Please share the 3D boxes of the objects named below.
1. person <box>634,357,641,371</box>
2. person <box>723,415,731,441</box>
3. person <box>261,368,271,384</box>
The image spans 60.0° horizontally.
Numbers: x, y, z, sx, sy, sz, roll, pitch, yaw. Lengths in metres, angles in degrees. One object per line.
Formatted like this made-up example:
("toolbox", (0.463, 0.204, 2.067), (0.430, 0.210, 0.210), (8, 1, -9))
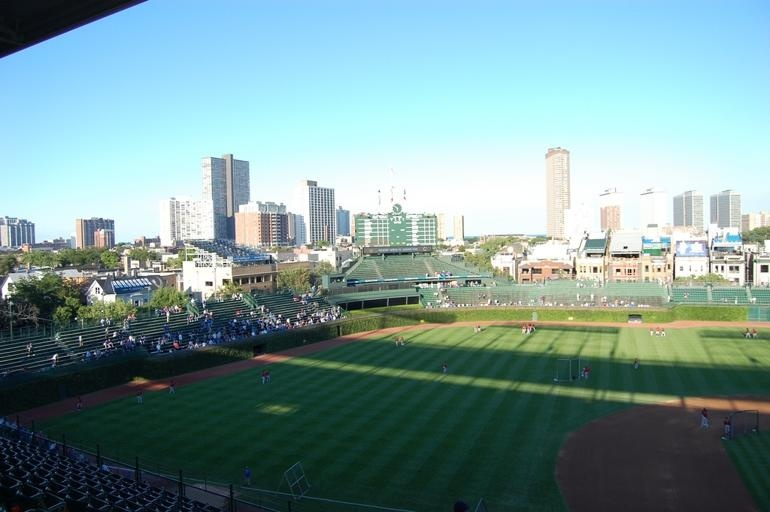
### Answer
("person", (25.840, 10.990, 68.467), (0.814, 1.085, 0.343), (0, -10, 37))
("person", (26.915, 13.325, 52.370), (0.582, 1.572, 1.266), (1, 5, 27))
("person", (-11.833, 11.735, 65.745), (1.069, 1.742, 1.273), (-2, 18, -4))
